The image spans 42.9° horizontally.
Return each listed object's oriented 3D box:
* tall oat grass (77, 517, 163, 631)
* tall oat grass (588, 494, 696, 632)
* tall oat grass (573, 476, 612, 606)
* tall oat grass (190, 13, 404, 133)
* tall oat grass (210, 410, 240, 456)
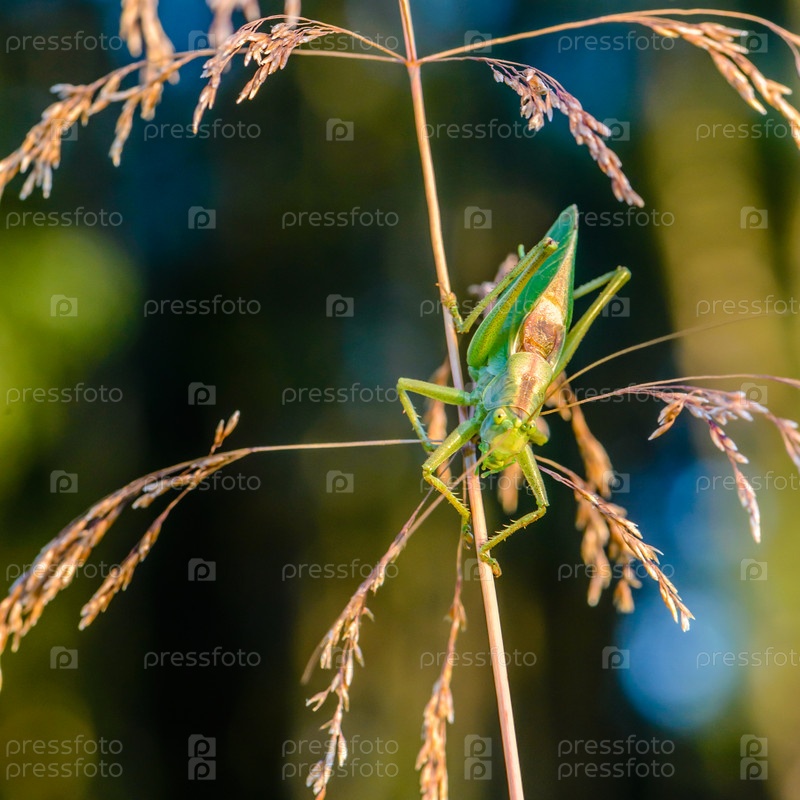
[{"bbox_3d":[-0.759,0.483,2.756,0.069,0.424,0.071,15,-21,43],"label":"tall oat grass"},{"bbox_3d":[0.555,0.354,2.242,0.040,0.265,0.038,-36,-42,22],"label":"tall oat grass"},{"bbox_3d":[0.528,0.386,2.776,0.100,0.417,0.096,-4,4,33],"label":"tall oat grass"},{"bbox_3d":[-0.253,-0.801,2.343,0.480,0.186,0.114,0,33,40],"label":"tall oat grass"},{"bbox_3d":[-0.478,0.081,2.781,0.031,0.050,0.207,-18,-21,-18],"label":"tall oat grass"}]
